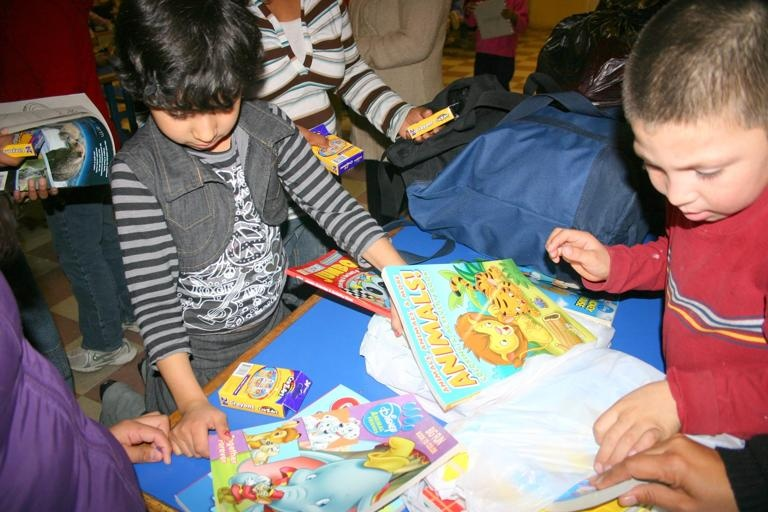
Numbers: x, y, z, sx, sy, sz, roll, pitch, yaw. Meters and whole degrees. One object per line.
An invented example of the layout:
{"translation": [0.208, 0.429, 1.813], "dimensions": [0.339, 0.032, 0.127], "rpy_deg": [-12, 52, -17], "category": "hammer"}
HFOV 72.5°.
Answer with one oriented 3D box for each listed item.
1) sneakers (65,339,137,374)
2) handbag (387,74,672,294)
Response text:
{"translation": [-1.414, 0.502, 2.709], "dimensions": [0.376, 0.176, 0.138], "rpy_deg": [-6, 58, -10], "category": "sneakers"}
{"translation": [0.449, -0.211, 1.799], "dimensions": [0.789, 0.365, 0.601], "rpy_deg": [23, 65, 38], "category": "handbag"}
